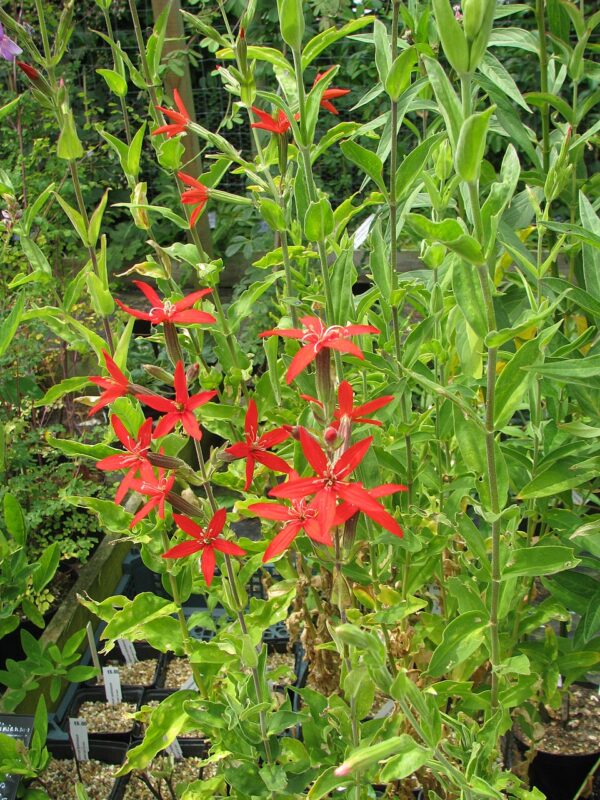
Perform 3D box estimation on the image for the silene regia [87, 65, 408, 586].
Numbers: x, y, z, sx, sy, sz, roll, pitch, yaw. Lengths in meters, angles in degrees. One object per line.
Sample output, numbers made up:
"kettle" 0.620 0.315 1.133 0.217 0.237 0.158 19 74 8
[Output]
"silene regia" -0.022 0.031 0.773 0.288 0.155 0.675 -6 77 2
